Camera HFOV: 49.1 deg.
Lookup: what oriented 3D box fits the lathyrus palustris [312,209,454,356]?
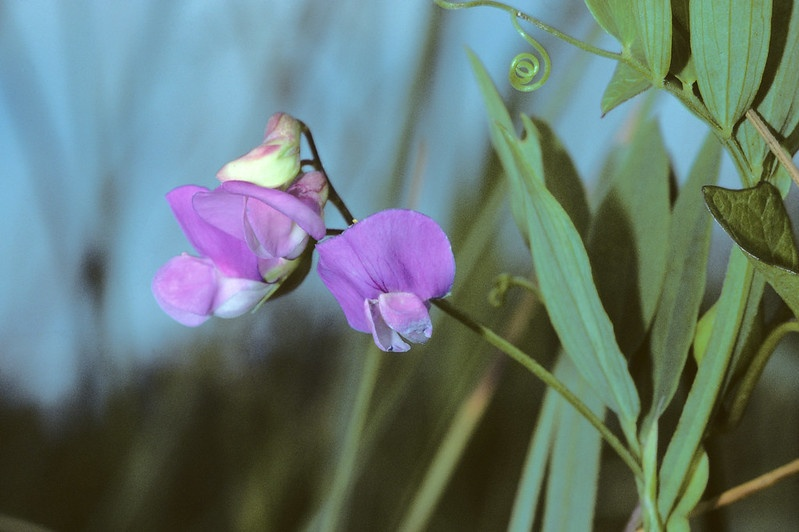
[{"bbox_3d":[-0.014,0.006,1.293,0.204,0.210,0.079,18,32,-1],"label":"lathyrus palustris"}]

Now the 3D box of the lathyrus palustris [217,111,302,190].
[{"bbox_3d":[-0.197,-0.182,1.359,0.145,0.115,0.067,9,-3,-43],"label":"lathyrus palustris"}]
